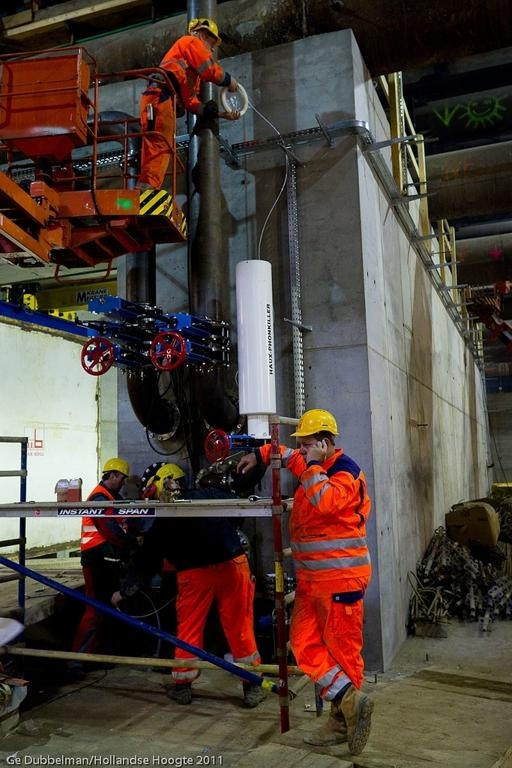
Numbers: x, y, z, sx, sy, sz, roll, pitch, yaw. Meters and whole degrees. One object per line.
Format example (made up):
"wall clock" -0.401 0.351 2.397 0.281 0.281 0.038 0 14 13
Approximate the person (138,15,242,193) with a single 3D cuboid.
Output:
"person" -0.641 -2.502 7.286 0.780 1.661 0.562 0 -6 -20

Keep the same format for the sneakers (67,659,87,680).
"sneakers" -1.508 2.412 6.963 0.157 0.151 0.266 0 -5 -13

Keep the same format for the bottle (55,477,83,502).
"bottle" -1.427 0.822 6.346 0.160 0.162 0.394 1 -6 -29

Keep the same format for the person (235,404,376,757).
"person" 0.459 1.207 5.231 0.516 2.091 0.598 -2 -6 3

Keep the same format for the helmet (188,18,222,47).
"helmet" -0.462 -3.171 7.486 0.301 0.167 0.212 13 25 -15

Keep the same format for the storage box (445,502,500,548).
"storage box" 3.110 2.031 11.873 0.658 0.608 0.895 1 -5 23

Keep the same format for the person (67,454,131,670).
"person" -1.325 1.474 7.084 0.480 1.641 1.110 -1 -6 -10

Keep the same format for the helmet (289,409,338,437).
"helmet" 0.398 0.275 5.507 0.244 0.140 0.195 5 -6 -11

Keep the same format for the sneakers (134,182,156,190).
"sneakers" -0.965 -1.704 7.128 0.113 0.042 0.099 -2 2 34

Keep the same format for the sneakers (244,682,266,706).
"sneakers" -0.010 2.314 6.115 0.088 0.120 0.252 -4 -20 10

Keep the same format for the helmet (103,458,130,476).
"helmet" -1.271 0.759 7.568 0.222 0.138 0.159 9 -7 -24
